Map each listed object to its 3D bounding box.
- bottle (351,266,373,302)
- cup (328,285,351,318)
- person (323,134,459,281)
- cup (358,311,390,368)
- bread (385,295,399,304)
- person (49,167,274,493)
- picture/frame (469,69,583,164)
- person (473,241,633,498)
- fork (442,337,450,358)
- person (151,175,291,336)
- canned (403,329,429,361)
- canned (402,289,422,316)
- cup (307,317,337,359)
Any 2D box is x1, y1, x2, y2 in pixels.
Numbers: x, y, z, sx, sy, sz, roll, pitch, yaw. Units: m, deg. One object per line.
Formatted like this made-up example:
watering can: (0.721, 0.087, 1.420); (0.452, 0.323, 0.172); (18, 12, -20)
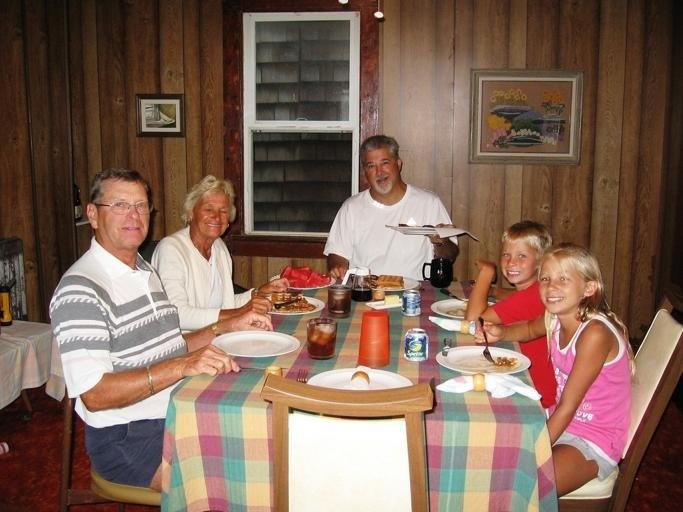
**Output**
bottle: (0.093, 0.155, 2.797); (0.160, 0.177, 0.097); (-2, 6, -12)
cup: (-0.010, 0.221, 2.525); (0.123, 0.137, 0.116); (1, 5, 0)
person: (0.303, -0.187, 3.656); (0.886, 1.219, 0.660); (-1, 7, 20)
cup: (0.117, 0.290, 1.963); (0.124, 0.183, 0.117); (0, 16, 0)
bread: (0.252, 0.221, 2.669); (0.051, 0.031, 0.039); (0, 8, -7)
person: (-0.595, 0.076, 2.730); (1.022, 1.958, 1.013); (-2, 19, -8)
picture/frame: (1.445, -1.096, 4.079); (0.649, 0.601, 0.056); (0, 5, 0)
person: (0.808, 0.580, 2.136); (0.609, 1.191, 0.506); (4, 2, 33)
fork: (0.406, 0.361, 2.060); (0.022, 0.032, 0.079); (0, 3, 13)
person: (-0.753, -0.094, 3.075); (0.825, 1.048, 0.719); (5, 13, 13)
canned: (0.276, 0.339, 2.030); (0.098, 0.121, 0.103); (0, 0, -5)
canned: (0.326, 0.229, 2.528); (0.097, 0.126, 0.105); (0, 3, 2)
cup: (-0.077, 0.316, 2.034); (0.113, 0.141, 0.127); (1, 10, -1)
